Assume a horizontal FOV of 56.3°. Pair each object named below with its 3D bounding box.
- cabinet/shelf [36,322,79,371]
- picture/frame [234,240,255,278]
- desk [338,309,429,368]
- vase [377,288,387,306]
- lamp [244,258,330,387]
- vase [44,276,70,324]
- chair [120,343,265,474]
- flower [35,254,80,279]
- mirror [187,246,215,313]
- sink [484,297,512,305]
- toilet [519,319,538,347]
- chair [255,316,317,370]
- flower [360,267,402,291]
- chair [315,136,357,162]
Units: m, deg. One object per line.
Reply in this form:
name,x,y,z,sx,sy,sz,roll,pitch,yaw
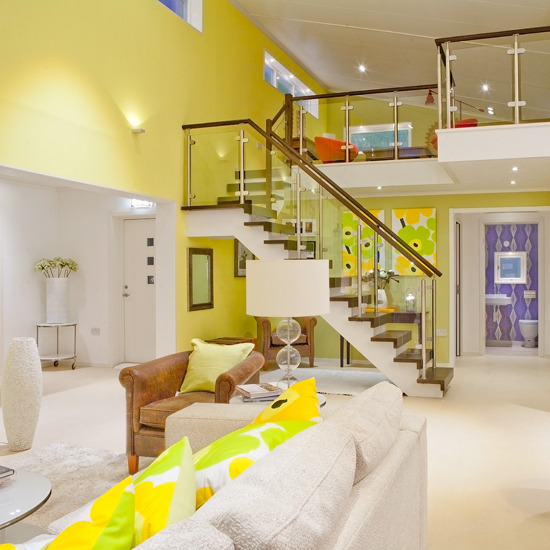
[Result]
cabinet/shelf,-3.225,1.034,7.633,0.619,0.700,0.599,0,0,37
picture/frame,-0.390,-0.214,6.251,0.036,0.612,0.476,-1,1,17
desk,1.414,0.661,6.255,1.192,0.886,0.734,-1,-12,10
vase,1.248,0.267,5.978,0.125,0.175,0.138,-1,1,-16
lamp,0.073,0.273,2.938,0.433,0.733,0.395,0,0,-44
vase,-3.234,0.368,7.610,0.309,0.677,0.394,0,0,-27
chair,-0.575,0.932,3.724,0.654,0.867,0.854,-1,-9,9
flower,-3.247,-0.106,7.666,0.344,0.289,0.332,1,-2,-32
mirror,-0.965,0.054,6.560,0.055,0.927,0.766,1,0,19
sink,4.274,0.493,9.884,0.574,0.203,0.283,0,0,-4
toilet,4.690,1.076,9.730,0.360,0.524,0.438,0,3,1
chair,0.175,0.981,7.623,0.646,0.961,0.821,1,-10,-5
flower,1.220,0.048,5.902,0.443,0.223,0.129,0,0,32
chair,0.835,-1.735,7.147,0.403,0.338,0.362,-4,13,-12
